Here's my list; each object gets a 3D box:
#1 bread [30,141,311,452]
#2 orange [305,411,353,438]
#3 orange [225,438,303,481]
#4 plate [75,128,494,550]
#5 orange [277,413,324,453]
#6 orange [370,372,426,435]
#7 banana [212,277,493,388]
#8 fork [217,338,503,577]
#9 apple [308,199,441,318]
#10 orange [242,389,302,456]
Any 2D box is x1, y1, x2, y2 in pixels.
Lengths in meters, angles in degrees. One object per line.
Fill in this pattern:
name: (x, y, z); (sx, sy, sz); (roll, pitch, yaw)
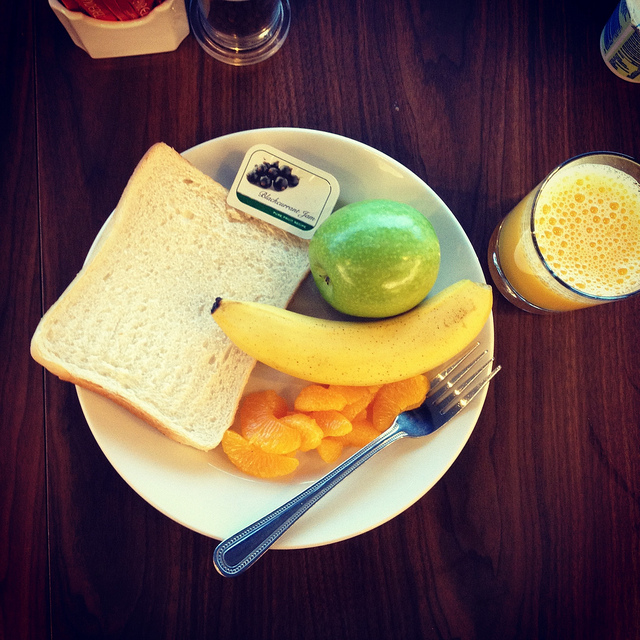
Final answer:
bread: (-0.304, -0.033, 1.303); (0.454, 0.173, 0.700); (26, 82, -10)
orange: (0.023, 0.200, 1.255); (0.067, 0.026, 0.052); (7, 95, 20)
orange: (-0.108, 0.277, 1.313); (0.204, 0.101, 0.058); (16, 94, -39)
plate: (-0.078, 0.071, 1.276); (0.610, 0.106, 0.875); (2, 90, -3)
orange: (-0.041, 0.233, 1.289); (0.094, 0.146, 0.097); (3, 88, -1)
orange: (0.151, 0.157, 1.275); (0.084, 0.031, 0.139); (49, 114, 25)
banana: (0.075, 0.043, 1.182); (0.531, 0.242, 0.174); (0, 46, 5)
fork: (0.063, 0.275, 1.270); (0.089, 0.067, 0.592); (44, 86, 1)
apple: (0.099, -0.118, 1.211); (0.243, 0.137, 0.215); (3, 84, -1)
orange: (-0.098, 0.210, 1.293); (0.110, 0.211, 0.058); (-16, 110, -25)
